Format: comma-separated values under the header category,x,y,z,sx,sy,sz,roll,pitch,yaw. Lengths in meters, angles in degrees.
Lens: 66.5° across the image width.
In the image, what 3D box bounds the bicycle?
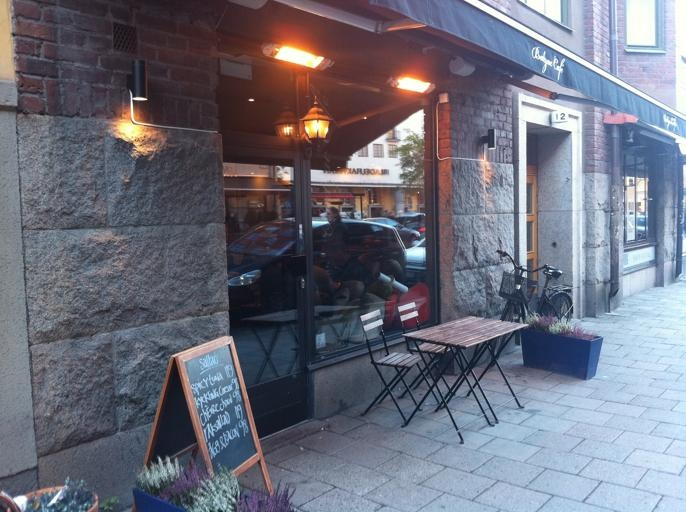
category,x,y,z,sx,sy,sz,roll,pitch,yaw
bicycle,2.808,0.467,8.433,1.912,1.353,0.969,1,-1,-40

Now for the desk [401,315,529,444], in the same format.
category,x,y,z,sx,sy,sz,roll,pitch,yaw
desk,1.387,1.169,6.109,1.015,1.288,1.763,2,5,39

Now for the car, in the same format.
category,x,y,z,sx,sy,sz,roll,pitch,yaw
car,-0.207,0.082,5.910,1.999,0.716,0.816,0,-3,-43

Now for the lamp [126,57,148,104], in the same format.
category,x,y,z,sx,sy,sz,roll,pitch,yaw
lamp,-1.579,-1.363,4.070,0.167,0.308,0.128,-6,8,-36

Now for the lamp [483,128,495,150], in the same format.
category,x,y,z,sx,sy,sz,roll,pitch,yaw
lamp,2.057,-1.648,7.336,0.153,0.257,0.215,2,8,25

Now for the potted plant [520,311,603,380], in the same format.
category,x,y,z,sx,sy,sz,roll,pitch,yaw
potted plant,2.892,1.213,7.022,1.005,0.696,0.316,4,9,37

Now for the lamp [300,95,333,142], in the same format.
category,x,y,z,sx,sy,sz,roll,pitch,yaw
lamp,-0.275,-1.560,5.602,0.326,0.676,0.341,1,11,5
